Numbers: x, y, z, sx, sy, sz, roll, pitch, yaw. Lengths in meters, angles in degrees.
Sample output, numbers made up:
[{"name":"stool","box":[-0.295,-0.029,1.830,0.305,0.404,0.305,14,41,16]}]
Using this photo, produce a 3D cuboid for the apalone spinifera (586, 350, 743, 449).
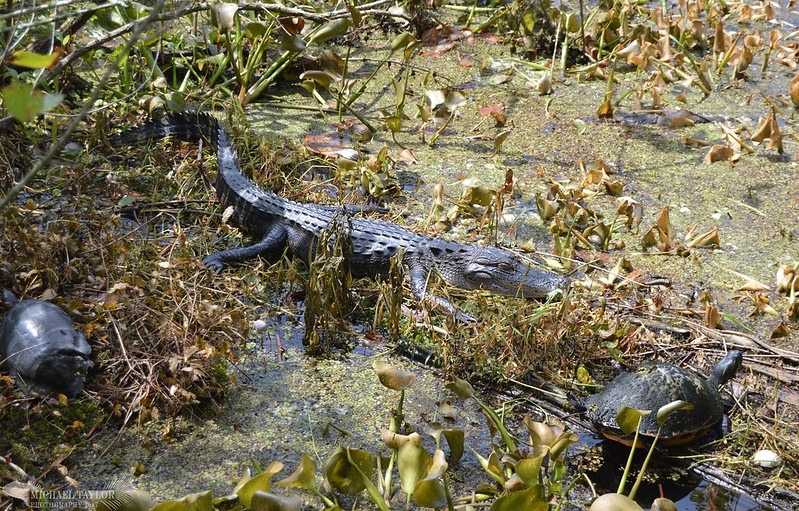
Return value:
[{"name":"apalone spinifera","box":[1.806,0.985,5.388,0.823,0.270,0.571,-15,13,-21]}]

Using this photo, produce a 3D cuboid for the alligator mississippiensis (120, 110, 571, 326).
[{"name":"alligator mississippiensis","box":[-0.610,-0.245,6.586,3.908,0.755,1.132,24,40,15]}]
